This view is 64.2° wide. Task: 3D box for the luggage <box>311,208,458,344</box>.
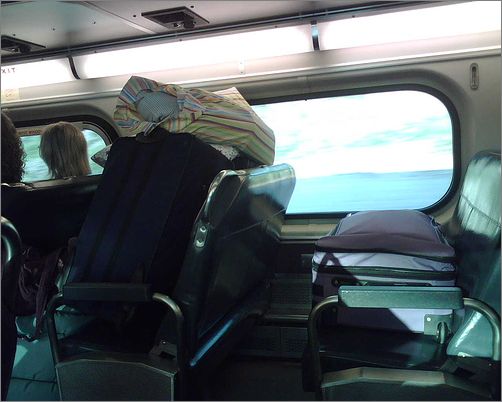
[{"bbox_3d":[0.620,0.291,1.938,0.496,0.358,0.682,-1,0,14],"label":"luggage"}]
